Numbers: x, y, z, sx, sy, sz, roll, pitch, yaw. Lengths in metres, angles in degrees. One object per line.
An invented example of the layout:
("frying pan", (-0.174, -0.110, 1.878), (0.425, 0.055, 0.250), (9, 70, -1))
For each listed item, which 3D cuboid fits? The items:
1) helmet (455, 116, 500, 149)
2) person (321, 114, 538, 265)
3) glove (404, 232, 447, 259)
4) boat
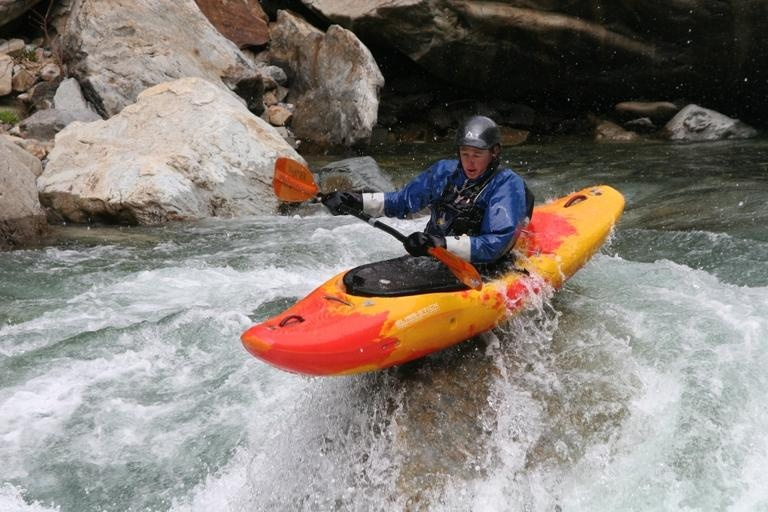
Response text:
("helmet", (0.696, -0.882, 4.628), (0.231, 0.136, 0.291), (5, 12, 24))
("person", (0.304, -0.435, 4.794), (1.464, 1.049, 1.198), (21, 37, 35))
("glove", (0.277, -0.078, 4.400), (0.231, 0.093, 0.160), (-1, 13, 17))
("boat", (0.762, 0.274, 4.862), (3.492, 0.580, 0.994), (-21, 37, -16))
